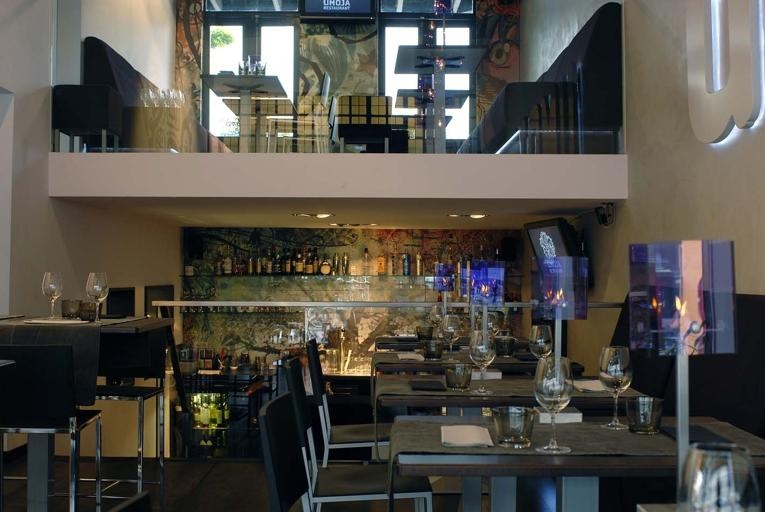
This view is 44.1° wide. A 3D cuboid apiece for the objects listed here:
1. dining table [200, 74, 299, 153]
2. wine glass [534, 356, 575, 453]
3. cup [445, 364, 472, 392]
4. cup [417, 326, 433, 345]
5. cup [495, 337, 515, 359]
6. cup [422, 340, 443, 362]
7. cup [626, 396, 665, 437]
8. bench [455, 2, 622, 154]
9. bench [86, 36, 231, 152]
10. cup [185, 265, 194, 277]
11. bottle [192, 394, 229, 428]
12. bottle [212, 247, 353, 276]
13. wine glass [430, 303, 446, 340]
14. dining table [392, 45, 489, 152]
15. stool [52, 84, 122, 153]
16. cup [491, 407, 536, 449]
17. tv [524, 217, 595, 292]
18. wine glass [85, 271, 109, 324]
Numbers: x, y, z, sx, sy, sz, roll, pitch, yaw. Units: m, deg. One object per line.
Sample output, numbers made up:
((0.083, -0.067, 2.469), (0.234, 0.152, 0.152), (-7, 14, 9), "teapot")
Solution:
((-1.304, -1.403, 8.973), (0.696, 0.802, 0.761), (1, -3, 0), "dining table")
((1.036, 0.915, 5.825), (0.217, 0.578, 0.332), (0, -4, 2), "wine glass")
((0.524, 0.840, 6.486), (0.159, 0.145, 0.159), (0, -4, 0), "cup")
((0.341, 0.635, 7.646), (0.110, 0.097, 0.106), (0, -3, 0), "cup")
((0.957, 0.730, 7.399), (0.141, 0.135, 0.126), (-2, 2, -16), "cup")
((0.396, 0.737, 7.386), (0.129, 0.115, 0.136), (0, -3, 0), "cup")
((1.656, 1.002, 5.963), (0.251, 0.224, 0.238), (-2, -3, 0), "cup")
((1.604, -1.638, 8.872), (1.289, 1.441, 0.610), (0, -4, 9), "bench")
((-2.376, -1.423, 10.808), (1.241, 1.522, 4.160), (0, 4, -5), "bench")
((-2.401, 0.195, 11.713), (0.127, 0.153, 0.098), (1, -6, -29), "cup")
((-1.490, 1.332, 8.141), (0.318, 0.287, 0.104), (2, -4, -16), "bottle")
((-1.267, 0.070, 11.851), (1.693, 0.341, 0.462), (0, -4, 9), "bottle")
((0.465, 0.589, 7.920), (0.126, 0.391, 0.132), (2, 18, 21), "wine glass")
((0.585, -1.477, 9.517), (0.862, 1.477, 1.119), (2, -6, -6), "dining table")
((-2.838, -1.339, 8.958), (0.635, 0.558, 0.659), (-1, 2, 29), "stool")
((0.805, 1.031, 5.749), (0.235, 0.200, 0.224), (2, -2, 0), "cup")
((1.616, 0.032, 9.601), (0.632, 0.694, 0.223), (-5, -11, -46), "tv")
((-2.216, 0.316, 7.301), (0.139, 0.379, 0.293), (1, -4, -18), "wine glass")
